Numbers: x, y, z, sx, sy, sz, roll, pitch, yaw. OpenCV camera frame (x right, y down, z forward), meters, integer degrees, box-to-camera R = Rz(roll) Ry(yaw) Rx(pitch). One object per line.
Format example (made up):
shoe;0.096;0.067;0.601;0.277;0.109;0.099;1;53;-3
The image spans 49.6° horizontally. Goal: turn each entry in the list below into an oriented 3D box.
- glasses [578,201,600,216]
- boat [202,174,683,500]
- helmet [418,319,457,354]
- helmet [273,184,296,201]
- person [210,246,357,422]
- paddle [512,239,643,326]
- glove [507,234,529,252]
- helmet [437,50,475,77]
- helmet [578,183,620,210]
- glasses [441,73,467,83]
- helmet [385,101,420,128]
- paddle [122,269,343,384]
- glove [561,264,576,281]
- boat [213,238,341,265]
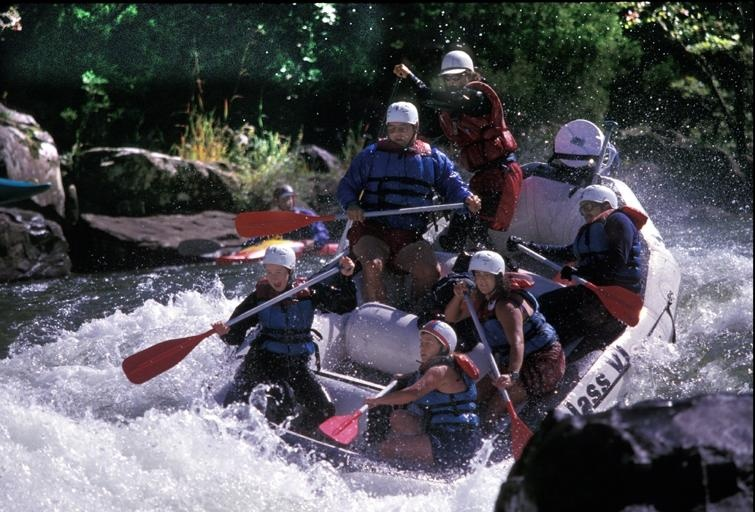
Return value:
glasses;2.231;-0.494;8.610;0.138;0.055;0.151;-9;48;19
boat;1.497;1.405;8.833;2.766;1.561;4.635;13;44;42
helmet;0.607;0.726;7.623;0.309;0.291;0.247;21;8;-31
helmet;-1.445;-1.023;12.693;0.320;0.224;0.470;-12;-7;-10
person;-0.901;0.930;8.103;1.229;2.110;0.816;3;18;-6
paddle;2.078;0.178;8.627;1.640;0.487;0.221;31;57;26
glove;1.528;-0.139;9.058;0.143;0.104;0.202;4;20;0
helmet;0.902;-2.128;9.159;0.376;0.305;0.248;3;18;-31
helmet;2.338;-0.641;8.662;0.325;0.233;0.252;1;8;-19
glasses;0.871;-1.982;9.103;0.117;0.051;0.139;-5;-7;22
helmet;0.288;-1.488;8.653;0.223;0.248;0.299;6;-11;15
paddle;-1.549;0.790;8.742;2.237;0.268;0.089;-29;-12;3
glove;1.995;0.176;8.511;0.108;0.158;0.053;5;-12;33
boat;-1.497;-0.049;13.608;2.367;0.519;0.795;-2;2;-23
